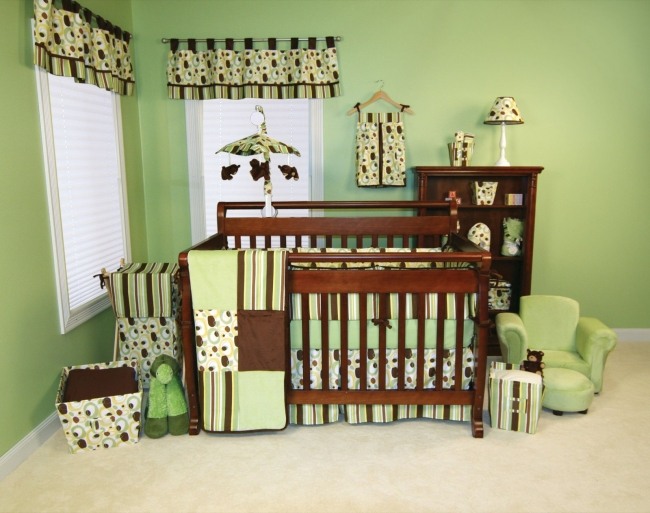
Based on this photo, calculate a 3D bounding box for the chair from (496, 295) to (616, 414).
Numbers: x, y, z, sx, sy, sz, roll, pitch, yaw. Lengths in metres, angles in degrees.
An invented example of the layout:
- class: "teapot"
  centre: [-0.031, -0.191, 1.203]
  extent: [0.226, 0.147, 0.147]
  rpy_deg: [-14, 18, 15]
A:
- class: "chair"
  centre: [1.534, 0.661, 4.347]
  extent: [0.852, 0.746, 0.861]
  rpy_deg: [5, 6, 37]

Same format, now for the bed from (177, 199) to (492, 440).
- class: "bed"
  centre: [0.077, 0.253, 4.482]
  extent: [1.768, 1.312, 1.787]
  rpy_deg: [0, 11, 1]

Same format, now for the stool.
- class: "stool"
  centre: [1.153, 0.861, 3.894]
  extent: [0.303, 0.341, 0.248]
  rpy_deg: [3, 11, 14]

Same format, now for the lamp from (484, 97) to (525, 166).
- class: "lamp"
  centre: [1.352, -0.958, 4.870]
  extent: [0.305, 0.519, 0.399]
  rpy_deg: [3, 11, 17]

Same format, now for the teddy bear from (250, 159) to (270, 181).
- class: "teddy bear"
  centre: [-0.421, -0.588, 4.335]
  extent: [0.122, 0.139, 0.156]
  rpy_deg: [3, 11, 15]

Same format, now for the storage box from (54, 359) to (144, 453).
- class: "storage box"
  centre: [-1.299, 0.851, 3.693]
  extent: [0.449, 0.302, 0.464]
  rpy_deg: [-1, 9, -13]

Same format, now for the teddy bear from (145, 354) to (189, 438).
- class: "teddy bear"
  centre: [-0.951, 0.838, 3.875]
  extent: [0.290, 0.480, 0.281]
  rpy_deg: [-4, 4, -15]
